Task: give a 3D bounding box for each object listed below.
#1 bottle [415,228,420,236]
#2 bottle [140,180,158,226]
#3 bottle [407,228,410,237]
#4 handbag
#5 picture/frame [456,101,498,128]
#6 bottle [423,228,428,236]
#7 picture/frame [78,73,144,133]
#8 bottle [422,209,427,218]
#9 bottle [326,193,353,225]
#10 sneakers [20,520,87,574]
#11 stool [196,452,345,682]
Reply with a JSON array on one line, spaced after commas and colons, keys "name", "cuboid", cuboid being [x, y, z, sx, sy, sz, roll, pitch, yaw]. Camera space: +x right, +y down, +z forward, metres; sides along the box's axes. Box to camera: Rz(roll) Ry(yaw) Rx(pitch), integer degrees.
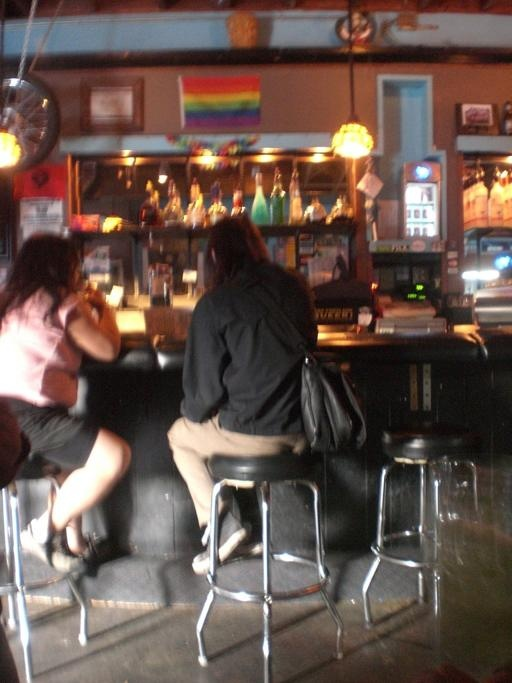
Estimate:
[{"name": "bottle", "cuboid": [1.089, -0.758, 4.508, 0.038, 0.085, 0.023, 1, 7, 12]}, {"name": "bottle", "cuboid": [-0.665, -0.852, 4.072, 0.115, 0.277, 0.384, -2, 6, -10]}, {"name": "bottle", "cuboid": [1.033, -0.754, 4.496, 0.046, 0.060, 0.022, -3, 5, -23]}, {"name": "handbag", "cuboid": [0.132, 0.071, 1.889, 0.348, 0.472, 0.172, 3, 6, 34]}, {"name": "picture/frame", "cuboid": [1.526, -1.584, 4.590, 0.265, 0.177, 0.054, -2, 5, -6]}, {"name": "bottle", "cuboid": [1.145, -0.766, 4.514, 0.039, 0.051, 0.023, -1, 5, 4]}, {"name": "picture/frame", "cuboid": [-0.988, -1.644, 4.628, 0.341, 0.455, 0.097, 2, -2, 0]}, {"name": "bottle", "cuboid": [1.147, -0.893, 4.538, 0.029, 0.056, 0.012, -2, 5, -14]}, {"name": "bottle", "cuboid": [0.528, -0.856, 4.240, 0.162, 0.183, 0.292, 0, 6, 9]}, {"name": "sneakers", "cuboid": [-0.655, 0.661, 2.148, 0.189, 0.074, 0.146, 39, -47, -12]}, {"name": "stool", "cuboid": [0.023, 0.643, 2.164, 0.423, 1.046, 0.520, 1, 1, -3]}]
